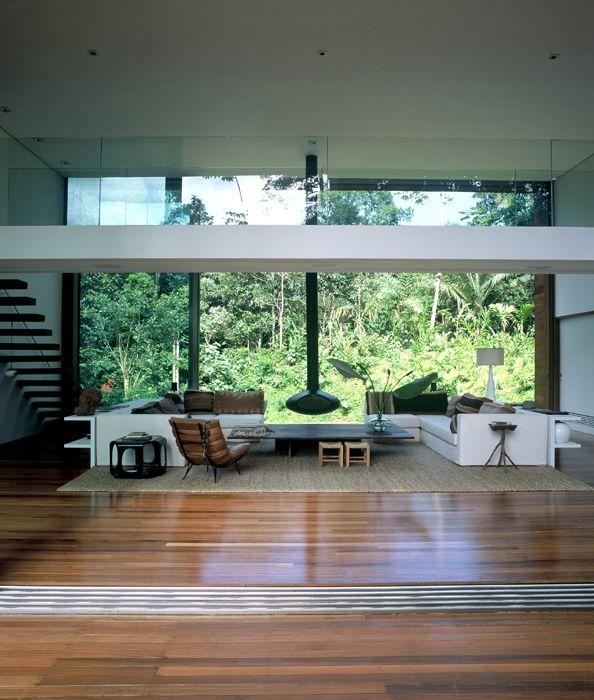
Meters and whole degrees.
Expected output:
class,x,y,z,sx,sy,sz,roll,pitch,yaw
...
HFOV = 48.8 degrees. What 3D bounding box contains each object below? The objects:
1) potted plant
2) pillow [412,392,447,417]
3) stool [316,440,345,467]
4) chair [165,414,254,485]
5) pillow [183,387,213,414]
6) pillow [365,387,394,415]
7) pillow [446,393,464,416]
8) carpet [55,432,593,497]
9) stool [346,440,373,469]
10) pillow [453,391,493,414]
class,x,y,z,sx,sy,sz,roll,pitch,yaw
potted plant,1.177,0.520,8.252,1.308,0.698,1.199,1,-6,18
pillow,1.813,0.772,9.022,0.431,0.315,0.091,2,-22,4
stool,0.383,1.155,7.262,0.309,0.253,0.272,0,-5,4
chair,-0.853,0.977,6.586,0.636,0.479,0.796,0,-5,26
pillow,-1.375,0.724,9.083,0.391,0.286,0.083,3,-24,-1
pillow,1.122,0.722,8.986,0.538,0.370,0.064,1,6,9
pillow,1.946,0.714,8.168,0.083,0.204,0.231,14,-47,4
carpet,0.392,1.254,6.742,4.716,0.091,1.648,-1,2,0
stool,0.679,1.154,7.207,0.277,0.185,0.452,-1,1,-1
pillow,2.033,0.658,7.781,0.345,0.293,0.099,11,-31,52
